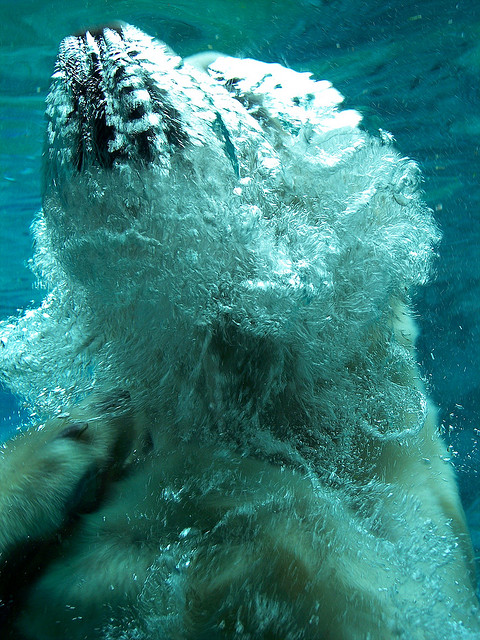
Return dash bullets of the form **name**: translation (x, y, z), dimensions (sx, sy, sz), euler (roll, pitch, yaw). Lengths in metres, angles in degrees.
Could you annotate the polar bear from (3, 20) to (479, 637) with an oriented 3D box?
- **polar bear**: translation (0.012, 0.080, 2.253), dimensions (1.423, 1.888, 0.759), euler (-8, 31, 4)
